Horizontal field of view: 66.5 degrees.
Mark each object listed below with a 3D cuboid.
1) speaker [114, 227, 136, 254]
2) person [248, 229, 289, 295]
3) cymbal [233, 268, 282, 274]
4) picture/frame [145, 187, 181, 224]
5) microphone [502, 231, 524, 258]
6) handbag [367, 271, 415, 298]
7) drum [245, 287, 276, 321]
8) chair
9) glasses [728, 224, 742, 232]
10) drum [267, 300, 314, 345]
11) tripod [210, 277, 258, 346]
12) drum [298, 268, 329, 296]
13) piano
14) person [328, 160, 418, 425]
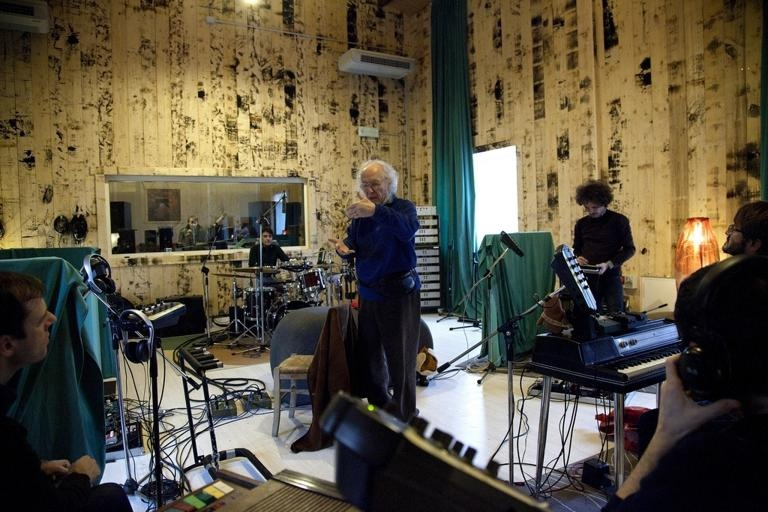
[{"bbox_3d":[-3.774,-0.224,8.582,0.309,0.503,0.321,-2,5,-27],"label":"speaker"},{"bbox_3d":[-1.579,0.182,8.182,0.625,1.136,0.491,4,7,42],"label":"person"},{"bbox_3d":[-1.603,0.177,7.346,0.616,0.076,0.423,-4,-2,39],"label":"cymbal"},{"bbox_3d":[-3.310,-0.777,8.743,0.533,0.569,0.053,-2,2,-35],"label":"picture/frame"},{"bbox_3d":[1.225,-0.119,5.626,0.168,0.231,0.762,-2,-1,13],"label":"microphone"},{"bbox_3d":[0.080,0.239,4.332,0.248,0.103,0.202,-11,-7,-9],"label":"handbag"},{"bbox_3d":[-1.628,0.660,7.721,0.454,0.474,0.479,-3,0,-10],"label":"drum"},{"bbox_3d":[-0.608,0.968,4.875,0.574,0.956,0.548,-2,2,7],"label":"chair"},{"bbox_3d":[2.223,-0.175,3.712,0.087,0.035,0.064,5,1,-22],"label":"glasses"},{"bbox_3d":[-1.215,0.804,7.351,0.453,0.455,0.467,1,-8,38],"label":"drum"},{"bbox_3d":[-1.780,0.719,7.900,0.900,0.840,0.727,4,0,0],"label":"tripod"},{"bbox_3d":[-0.864,0.300,7.218,0.345,0.307,0.310,-2,-1,-13],"label":"drum"},{"bbox_3d":[1.607,0.613,3.843,1.075,0.248,0.760,-4,3,-33],"label":"piano"},{"bbox_3d":[-0.038,0.375,4.350,0.612,1.827,0.641,-2,0,-37],"label":"person"}]
